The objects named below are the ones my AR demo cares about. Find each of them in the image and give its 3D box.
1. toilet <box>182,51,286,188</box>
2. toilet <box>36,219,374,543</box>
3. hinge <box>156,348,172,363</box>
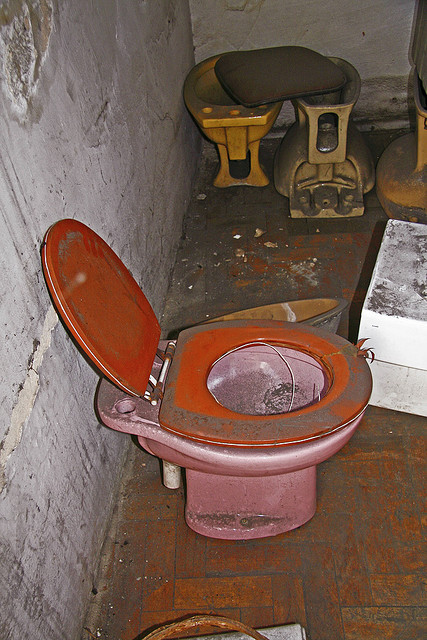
[{"bbox_3d":[0.083,-0.767,2.411,0.472,0.477,0.631,-5,65,5],"label":"toilet"},{"bbox_3d":[0.019,0.161,1.199,0.650,0.727,0.425,-1,32,3],"label":"toilet"},{"bbox_3d":[-0.114,0.081,1.246,0.027,0.020,0.008,6,21,43],"label":"hinge"}]
